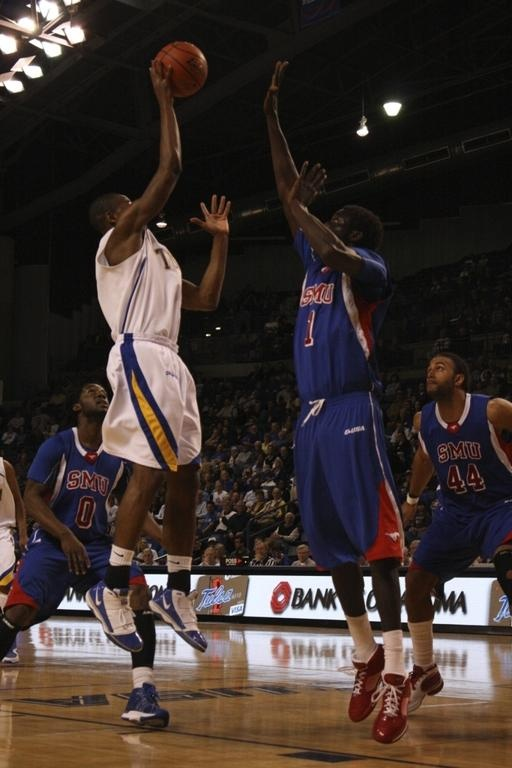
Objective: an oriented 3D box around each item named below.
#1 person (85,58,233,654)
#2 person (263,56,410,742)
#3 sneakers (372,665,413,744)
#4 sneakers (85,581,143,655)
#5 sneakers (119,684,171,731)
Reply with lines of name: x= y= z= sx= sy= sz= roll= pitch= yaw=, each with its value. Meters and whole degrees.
person: x=-0.404 y=-0.124 z=2.640 sx=0.532 sy=2.513 sz=0.888 roll=-1 pitch=-10 yaw=-2
person: x=0.326 y=0.139 z=2.380 sx=0.409 sy=2.135 sz=0.691 roll=-3 pitch=-10 yaw=8
sneakers: x=0.426 y=1.004 z=1.988 sx=0.084 sy=0.104 sz=0.258 roll=-1 pitch=3 yaw=11
sneakers: x=-0.496 y=0.823 z=2.208 sx=0.181 sy=0.251 sz=0.218 roll=1 pitch=-10 yaw=-16
sneakers: x=-0.372 y=1.091 z=2.147 sx=0.087 sy=0.141 sz=0.222 roll=21 pitch=-28 yaw=-31
